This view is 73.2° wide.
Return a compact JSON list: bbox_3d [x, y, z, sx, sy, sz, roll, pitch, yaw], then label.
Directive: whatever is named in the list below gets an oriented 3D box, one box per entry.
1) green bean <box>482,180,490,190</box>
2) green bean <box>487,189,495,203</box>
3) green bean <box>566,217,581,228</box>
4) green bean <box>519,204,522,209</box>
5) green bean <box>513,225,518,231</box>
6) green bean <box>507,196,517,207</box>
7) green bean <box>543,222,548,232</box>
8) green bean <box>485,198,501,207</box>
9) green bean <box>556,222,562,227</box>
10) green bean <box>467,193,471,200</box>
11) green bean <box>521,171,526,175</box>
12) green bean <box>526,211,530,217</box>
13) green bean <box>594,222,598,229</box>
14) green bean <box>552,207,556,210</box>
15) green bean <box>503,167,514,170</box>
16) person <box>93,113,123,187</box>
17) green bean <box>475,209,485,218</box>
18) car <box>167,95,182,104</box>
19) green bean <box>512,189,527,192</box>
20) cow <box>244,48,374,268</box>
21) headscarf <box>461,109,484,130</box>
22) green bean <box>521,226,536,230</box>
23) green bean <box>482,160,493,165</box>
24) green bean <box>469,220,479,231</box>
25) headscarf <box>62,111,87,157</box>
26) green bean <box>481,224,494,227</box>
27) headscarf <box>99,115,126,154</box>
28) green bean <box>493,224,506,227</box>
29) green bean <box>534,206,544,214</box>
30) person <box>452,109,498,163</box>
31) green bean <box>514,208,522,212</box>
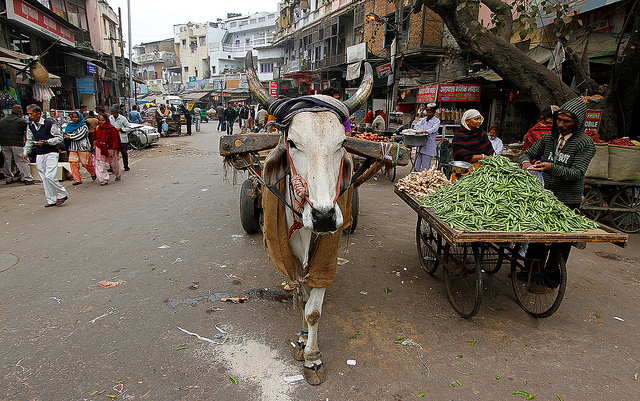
[{"bbox_3d":[2.641,-0.231,6.841,0.043,0.046,0.273,27,50,19],"label":"green bean"},{"bbox_3d":[2.656,-0.052,6.688,0.149,0.202,0.053,-6,-7,7],"label":"green bean"},{"bbox_3d":[3.823,0.333,6.520,0.034,0.049,0.243,-31,62,-25],"label":"green bean"},{"bbox_3d":[3.048,0.111,6.568,0.020,0.055,0.056,-11,8,-25],"label":"green bean"},{"bbox_3d":[2.877,0.426,6.350,0.015,0.027,0.115,37,44,11],"label":"green bean"},{"bbox_3d":[2.932,0.038,6.608,0.249,0.064,0.036,-40,62,-15],"label":"green bean"},{"bbox_3d":[3.346,0.398,6.396,0.056,0.093,0.138,-2,16,6],"label":"green bean"},{"bbox_3d":[2.668,0.051,6.614,0.193,0.089,0.045,5,19,28],"label":"green bean"},{"bbox_3d":[3.563,0.373,6.427,0.014,0.019,0.076,-39,36,13],"label":"green bean"},{"bbox_3d":[2.348,-0.058,6.793,0.029,0.048,0.087,-6,16,-6],"label":"green bean"},{"bbox_3d":[3.242,-0.432,6.850,0.049,0.040,0.021,-2,17,8],"label":"green bean"},{"bbox_3d":[3.138,0.216,6.509,0.034,0.056,0.093,8,20,36],"label":"green bean"},{"bbox_3d":[4.185,0.394,6.542,0.046,0.058,0.131,6,19,31],"label":"green bean"},{"bbox_3d":[3.559,0.132,6.554,0.070,0.027,0.023,-10,18,-21],"label":"green bean"},{"bbox_3d":[3.013,-0.505,6.882,0.150,0.041,0.044,-3,16,2],"label":"green bean"},{"bbox_3d":[-6.248,-1.465,12.457,0.614,1.976,1.149,-2,17,7],"label":"person"},{"bbox_3d":[2.420,0.217,6.527,0.023,0.032,0.164,-22,58,-29],"label":"green bean"},{"bbox_3d":[-13.349,-9.144,39.425,0.982,0.925,1.690,-11,22,-28],"label":"car"},{"bbox_3d":[3.104,-0.144,6.704,0.187,0.021,0.029,-6,16,-7],"label":"green bean"},{"bbox_3d":[-0.100,-0.473,5.625,1.453,2.947,1.223,-3,17,5],"label":"cow"},{"bbox_3d":[2.965,-1.604,8.570,0.344,0.427,0.430,-8,-1,-17],"label":"headscarf"},{"bbox_3d":[3.077,0.422,6.371,0.214,0.035,0.039,-5,16,-4],"label":"green bean"},{"bbox_3d":[2.715,-0.606,6.977,0.050,0.033,0.179,-11,26,-19],"label":"green bean"},{"bbox_3d":[2.295,0.377,6.384,0.058,0.094,0.205,-10,17,-18],"label":"green bean"},{"bbox_3d":[-6.970,-1.883,12.225,0.768,0.522,1.017,3,56,-18],"label":"headscarf"},{"bbox_3d":[2.468,0.385,6.381,0.136,0.024,0.027,-6,16,-7],"label":"green bean"},{"bbox_3d":[-6.137,-1.948,12.796,0.390,1.208,0.900,-5,17,-2],"label":"headscarf"},{"bbox_3d":[2.661,0.383,6.382,0.157,0.033,0.033,-2,17,7],"label":"green bean"},{"bbox_3d":[3.311,0.158,6.533,0.148,0.036,0.024,39,41,16],"label":"green bean"},{"bbox_3d":[2.982,-1.244,8.404,0.761,0.994,0.519,1,18,18],"label":"person"},{"bbox_3d":[3.000,0.163,6.540,0.026,0.035,0.096,-17,11,1],"label":"green bean"}]
